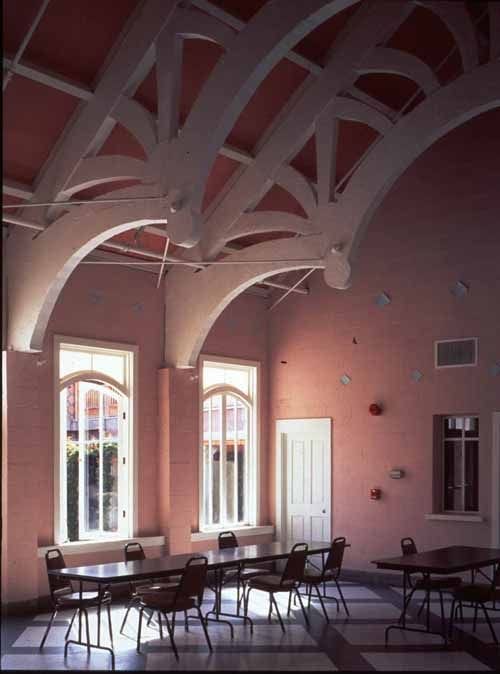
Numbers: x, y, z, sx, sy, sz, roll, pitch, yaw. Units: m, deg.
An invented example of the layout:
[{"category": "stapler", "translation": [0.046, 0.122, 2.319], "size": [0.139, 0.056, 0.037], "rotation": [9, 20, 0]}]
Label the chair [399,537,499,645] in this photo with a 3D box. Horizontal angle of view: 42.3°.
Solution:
[{"category": "chair", "translation": [2.060, 2.627, 6.615], "size": [0.673, 0.562, 1.293], "rotation": [1, -3, 35]}]

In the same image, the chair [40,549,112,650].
[{"category": "chair", "translation": [-1.552, 2.321, 5.746], "size": [0.577, 0.805, 0.537], "rotation": [-9, -15, 26]}]

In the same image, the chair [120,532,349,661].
[{"category": "chair", "translation": [-0.186, 2.689, 6.629], "size": [1.511, 0.524, 0.847], "rotation": [4, -11, -42]}]
